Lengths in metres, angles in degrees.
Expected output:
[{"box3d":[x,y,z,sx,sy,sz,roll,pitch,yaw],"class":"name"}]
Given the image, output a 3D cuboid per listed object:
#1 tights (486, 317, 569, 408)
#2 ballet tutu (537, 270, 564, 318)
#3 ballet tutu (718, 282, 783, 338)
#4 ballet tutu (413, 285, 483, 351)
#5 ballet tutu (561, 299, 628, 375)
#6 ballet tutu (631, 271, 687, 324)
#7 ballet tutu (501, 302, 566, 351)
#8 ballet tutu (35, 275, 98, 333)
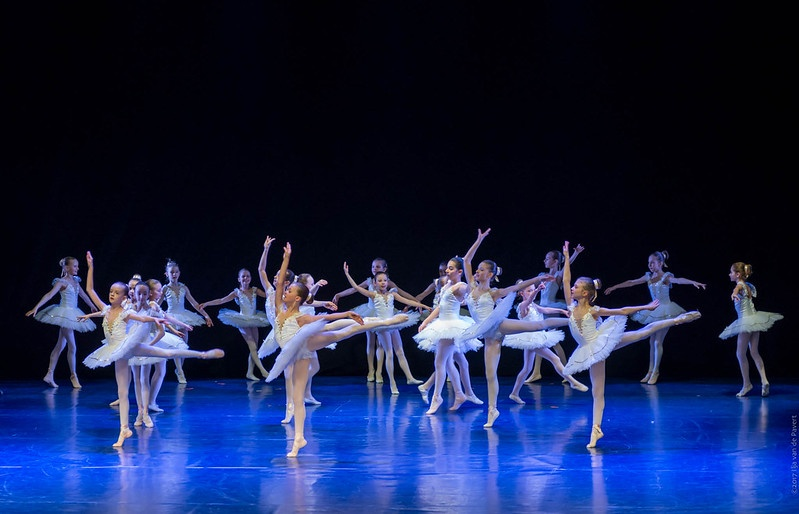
[{"box3d":[1.436,0.981,7.389,0.676,1.142,1.059,-9,-2,15],"class":"tights"},{"box3d":[1.772,0.426,8.095,0.203,0.580,0.600,5,-5,-16],"class":"ballet tutu"},{"box3d":[3.983,0.511,7.925,0.705,0.670,0.786,-10,0,29],"class":"ballet tutu"},{"box3d":[0.536,0.653,7.108,0.714,0.681,0.686,-7,-14,41],"class":"ballet tutu"},{"box3d":[1.606,0.667,5.791,0.652,0.351,0.540,-19,10,38],"class":"ballet tutu"},{"box3d":[3.276,0.491,8.673,0.688,0.645,0.548,-6,-7,16],"class":"ballet tutu"},{"box3d":[1.435,0.631,7.278,0.572,0.402,0.570,19,33,25],"class":"ballet tutu"},{"box3d":[-4.243,0.519,8.883,0.610,0.597,0.595,10,4,8],"class":"ballet tutu"}]
